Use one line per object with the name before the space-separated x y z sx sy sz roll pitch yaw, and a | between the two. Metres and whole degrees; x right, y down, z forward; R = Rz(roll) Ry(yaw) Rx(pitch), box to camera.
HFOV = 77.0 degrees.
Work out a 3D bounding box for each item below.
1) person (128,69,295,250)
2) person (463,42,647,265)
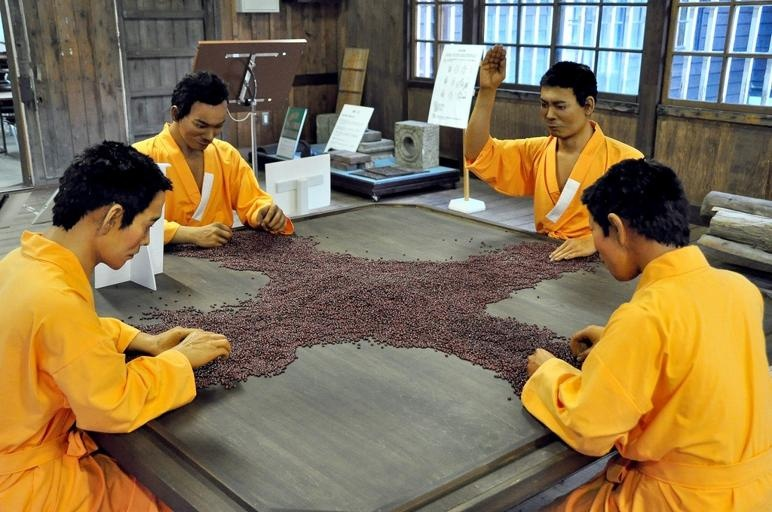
person | -0.956 -0.452 2.682 0.902 0.934 0.699 3 20 -10
person | 0.941 -0.411 2.733 1.022 1.371 0.842 7 16 32
